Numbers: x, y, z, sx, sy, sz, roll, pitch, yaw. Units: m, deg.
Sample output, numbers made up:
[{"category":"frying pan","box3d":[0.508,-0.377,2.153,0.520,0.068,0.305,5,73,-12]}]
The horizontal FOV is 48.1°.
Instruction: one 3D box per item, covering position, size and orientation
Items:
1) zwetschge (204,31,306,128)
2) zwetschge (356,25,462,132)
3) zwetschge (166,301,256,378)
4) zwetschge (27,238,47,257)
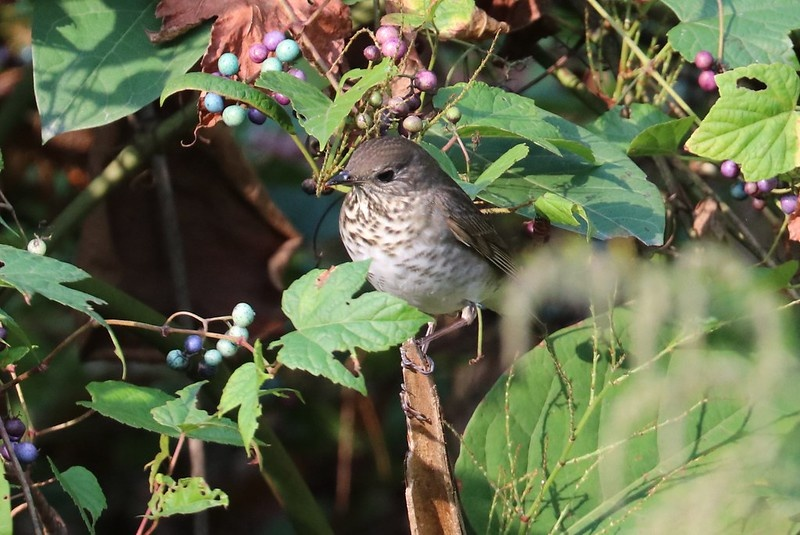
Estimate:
[{"category":"zwetschge","box3d":[-0.526,-0.687,3.210,0.401,0.339,0.282,-17,-1,-11]},{"category":"zwetschge","box3d":[0.067,-0.679,3.315,0.405,0.528,0.245,-13,-30,29]},{"category":"zwetschge","box3d":[-0.632,0.237,3.040,0.334,0.217,0.400,-17,-2,1]},{"category":"zwetschge","box3d":[-1.219,-0.065,3.002,0.063,0.068,0.045,18,19,19]}]
